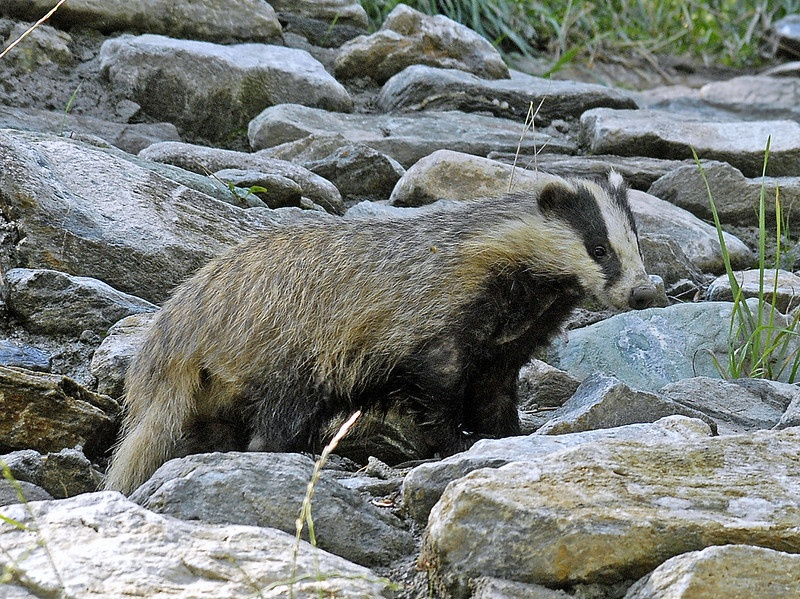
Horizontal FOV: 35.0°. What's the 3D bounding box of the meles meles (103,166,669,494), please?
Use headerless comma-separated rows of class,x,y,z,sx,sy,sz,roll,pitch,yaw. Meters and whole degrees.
meles meles,-0.150,0.242,8.647,3.574,1.442,1.251,-26,46,7
